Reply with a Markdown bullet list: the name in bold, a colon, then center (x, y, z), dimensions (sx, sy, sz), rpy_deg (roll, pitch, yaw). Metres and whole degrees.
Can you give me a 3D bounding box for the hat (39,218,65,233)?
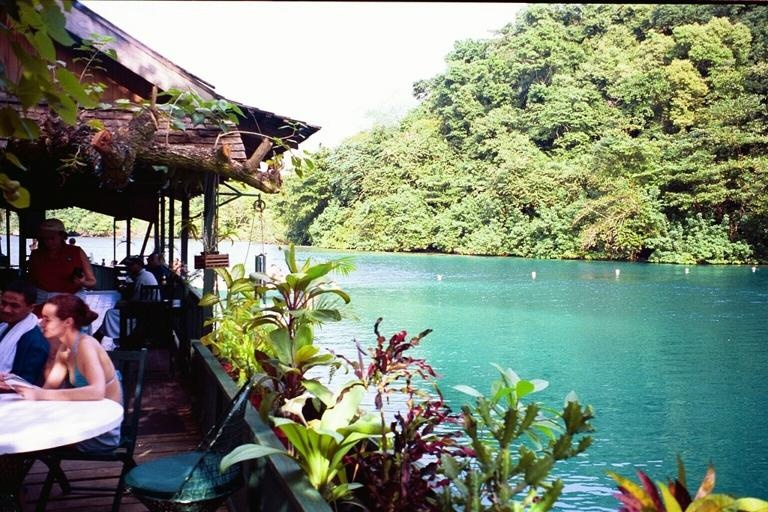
- **hat**: center (-3.154, -0.323, 5.741), dimensions (0.156, 0.095, 0.201), rpy_deg (4, 18, -28)
